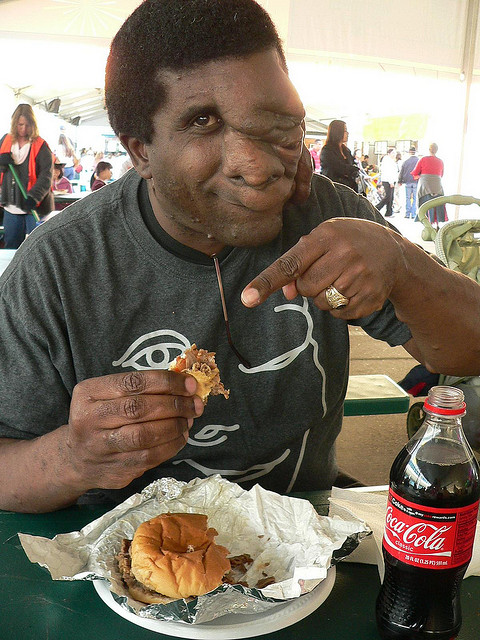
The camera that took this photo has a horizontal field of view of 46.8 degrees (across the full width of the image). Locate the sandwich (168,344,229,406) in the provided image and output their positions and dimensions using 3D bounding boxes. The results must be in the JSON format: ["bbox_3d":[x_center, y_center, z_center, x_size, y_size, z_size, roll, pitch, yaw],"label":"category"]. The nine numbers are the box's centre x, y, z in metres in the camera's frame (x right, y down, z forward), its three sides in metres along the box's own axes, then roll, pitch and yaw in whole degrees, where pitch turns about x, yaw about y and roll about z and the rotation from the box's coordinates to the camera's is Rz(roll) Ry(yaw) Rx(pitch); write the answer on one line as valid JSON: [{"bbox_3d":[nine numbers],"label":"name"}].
[{"bbox_3d":[-0.084,0.096,1.145,0.122,0.050,0.124,-18,60,-30],"label":"sandwich"}]

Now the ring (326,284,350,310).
[{"bbox_3d":[0.178,-0.042,1.044,0.038,0.042,0.026,3,-35,-34],"label":"ring"}]
